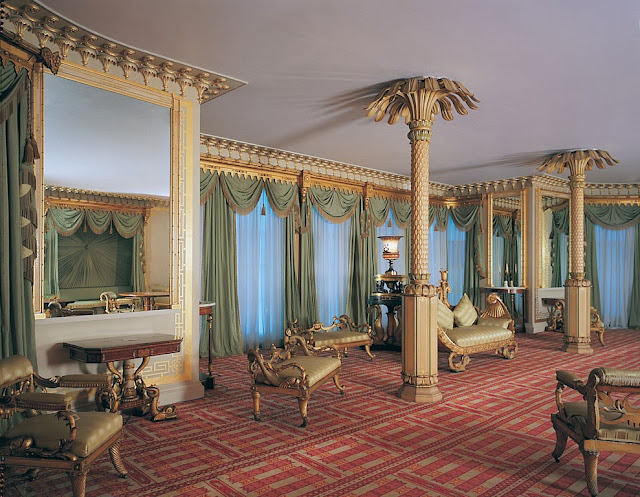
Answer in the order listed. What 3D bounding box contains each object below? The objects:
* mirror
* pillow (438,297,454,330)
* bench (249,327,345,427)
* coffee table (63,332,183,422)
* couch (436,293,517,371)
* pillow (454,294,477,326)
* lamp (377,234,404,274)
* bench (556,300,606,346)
[{"bbox_3d":[-2.163,-0.661,5.897,1.658,2.462,0.147,-2,4,-42],"label":"mirror"},{"bbox_3d":[1.873,1.006,8.252,0.213,0.344,0.630,1,4,11],"label":"pillow"},{"bbox_3d":[-0.287,1.360,5.981,0.706,0.734,1.005,2,4,18],"label":"bench"},{"bbox_3d":[-1.953,1.329,5.619,0.671,0.827,1.103,-1,-3,34],"label":"coffee table"},{"bbox_3d":[2.201,1.241,8.408,1.718,0.968,0.846,-1,-1,-33],"label":"couch"},{"bbox_3d":[2.282,0.969,8.760,0.135,0.441,0.460,5,21,24],"label":"pillow"},{"bbox_3d":[1.266,0.128,10.059,0.528,0.677,0.533,-5,-7,28],"label":"lamp"},{"bbox_3d":[4.843,1.208,10.370,0.790,0.988,0.712,-9,13,-3],"label":"bench"}]
